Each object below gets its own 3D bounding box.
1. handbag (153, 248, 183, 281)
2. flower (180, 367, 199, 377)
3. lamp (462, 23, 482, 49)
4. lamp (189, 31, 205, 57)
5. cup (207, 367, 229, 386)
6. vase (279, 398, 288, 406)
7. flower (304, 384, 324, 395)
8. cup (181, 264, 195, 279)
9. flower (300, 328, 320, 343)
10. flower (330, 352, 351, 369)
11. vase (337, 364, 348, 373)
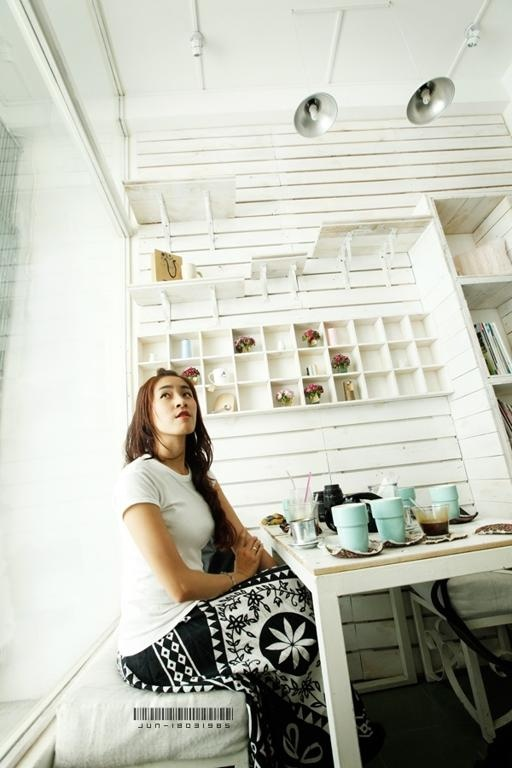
[{"bbox_3d":[-0.491,-0.661,2.918,0.199,0.222,0.074,1,-19,-40],"label":"handbag"},{"bbox_3d":[-0.371,-0.059,2.797,0.079,0.086,0.081,-1,-7,-2],"label":"flower"},{"bbox_3d":[1.350,-2.190,3.221,0.084,0.118,0.035,4,15,-16],"label":"lamp"},{"bbox_3d":[-0.351,-2.022,3.048,0.070,0.104,0.027,4,10,8],"label":"lamp"},{"bbox_3d":[-0.206,-0.040,2.873,0.112,0.111,0.074,-6,-21,15],"label":"cup"},{"bbox_3d":[0.152,0.103,2.835,0.035,0.040,0.036,-1,-6,14],"label":"vase"},{"bbox_3d":[0.321,0.044,2.857,0.071,0.048,0.073,-2,-10,-1],"label":"flower"},{"bbox_3d":[-0.390,-0.648,2.947,0.061,0.096,0.099,-3,-26,1],"label":"cup"},{"bbox_3d":[0.321,-0.268,2.944,0.078,0.084,0.038,2,-40,19],"label":"flower"},{"bbox_3d":[0.487,-0.133,2.961,0.087,0.092,0.089,2,7,40],"label":"flower"},{"bbox_3d":[0.496,-0.084,2.952,0.046,0.045,0.045,0,-42,1],"label":"vase"}]
